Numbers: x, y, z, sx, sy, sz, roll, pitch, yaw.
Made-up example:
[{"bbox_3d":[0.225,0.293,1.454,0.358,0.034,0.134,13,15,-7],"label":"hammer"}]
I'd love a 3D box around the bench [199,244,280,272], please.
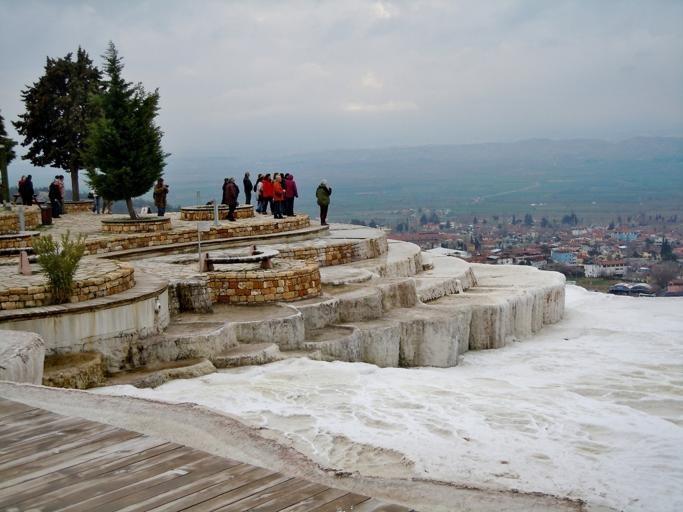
[{"bbox_3d":[-2.501,0.083,14.110,1.729,0.649,2.330,6,5,-11],"label":"bench"}]

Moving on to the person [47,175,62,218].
[{"bbox_3d":[-12.849,-2.682,26.098,0.550,1.834,1.355,5,7,-27],"label":"person"}]
